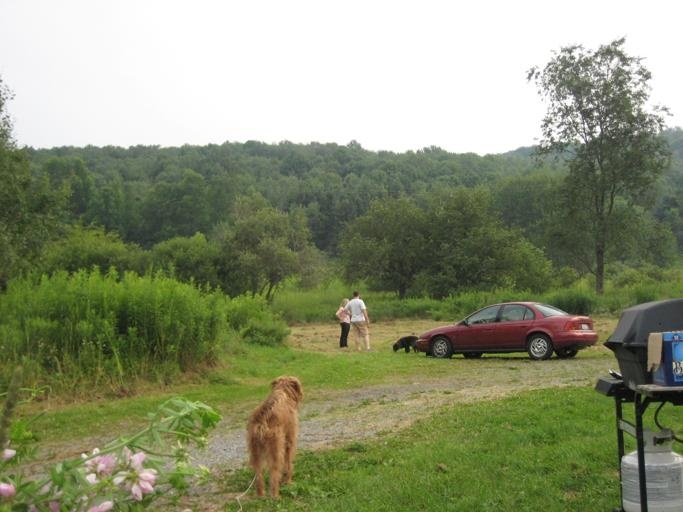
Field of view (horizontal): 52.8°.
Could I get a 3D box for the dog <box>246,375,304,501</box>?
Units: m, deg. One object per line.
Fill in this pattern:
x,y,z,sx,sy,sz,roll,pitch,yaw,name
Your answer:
-1.086,2.981,11.396,0.552,1.862,1.026,-5,-4,23,dog

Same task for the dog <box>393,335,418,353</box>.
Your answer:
2.287,3.115,24.230,0.478,0.585,1.271,-1,-7,-29,dog
